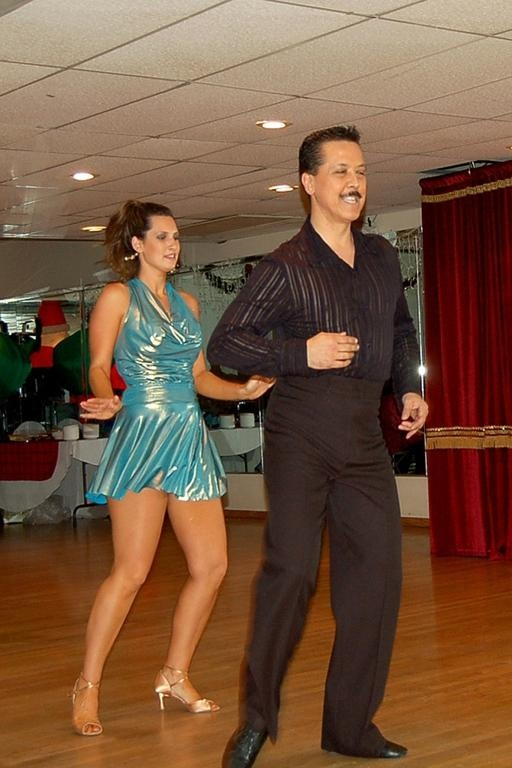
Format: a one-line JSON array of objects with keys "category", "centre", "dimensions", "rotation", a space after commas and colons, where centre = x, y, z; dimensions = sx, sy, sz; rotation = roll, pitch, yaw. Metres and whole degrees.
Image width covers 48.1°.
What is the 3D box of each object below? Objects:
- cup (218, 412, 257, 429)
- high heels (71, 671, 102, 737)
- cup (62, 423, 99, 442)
[{"category": "cup", "centre": [-0.235, 0.468, 7.276], "dimensions": [0.375, 0.144, 0.208], "rotation": [-1, -2, 9]}, {"category": "high heels", "centre": [-0.473, 0.894, 1.639], "dimensions": [0.068, 0.089, 0.206], "rotation": [6, 11, -17]}, {"category": "cup", "centre": [-2.269, 0.614, 7.387], "dimensions": [0.434, 0.196, 0.241], "rotation": [-1, -1, -16]}]
